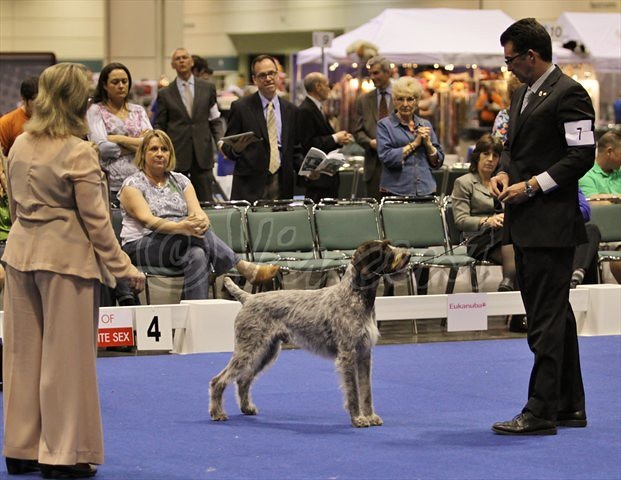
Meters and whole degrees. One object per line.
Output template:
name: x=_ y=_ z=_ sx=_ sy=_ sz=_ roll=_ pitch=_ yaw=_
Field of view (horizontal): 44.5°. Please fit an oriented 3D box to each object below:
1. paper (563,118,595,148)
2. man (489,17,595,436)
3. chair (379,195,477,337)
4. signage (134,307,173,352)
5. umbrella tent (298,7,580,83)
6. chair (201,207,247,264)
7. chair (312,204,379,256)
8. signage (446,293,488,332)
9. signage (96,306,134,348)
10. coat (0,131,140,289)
paper: x=1.549 y=-0.622 z=4.359 sx=0.149 sy=0.173 sz=0.013 roll=1 pitch=7 yaw=26
man: x=1.375 y=-0.076 z=4.537 sx=0.587 sy=2.453 sz=0.493 roll=2 pitch=6 yaw=21
chair: x=1.137 y=0.190 z=7.456 sx=0.769 sy=1.343 sz=0.972 roll=-3 pitch=-1 yaw=-3
signage: x=-1.298 y=0.720 z=6.321 sx=0.315 sy=0.414 sz=0.041 roll=-2 pitch=8 yaw=-16
umbrella tent: x=2.474 y=-4.354 z=16.373 sx=3.389 sy=1.026 sz=3.849 roll=-1 pitch=4 yaw=-8
chair: x=-0.866 y=-0.079 z=7.615 sx=0.408 sy=0.639 sz=0.486 roll=0 pitch=-2 yaw=-15
chair: x=0.349 y=-0.120 z=7.905 sx=0.485 sy=0.797 sz=0.544 roll=0 pitch=-5 yaw=-6
signage: x=1.414 y=0.639 z=6.854 sx=0.302 sy=0.324 sz=0.035 roll=-1 pitch=7 yaw=0
signage: x=-1.595 y=0.717 z=6.282 sx=0.307 sy=0.334 sz=0.110 roll=-2 pitch=1 yaw=4
coat: x=-1.249 y=-0.161 z=3.890 sx=0.677 sy=0.783 sz=0.234 roll=0 pitch=6 yaw=2
